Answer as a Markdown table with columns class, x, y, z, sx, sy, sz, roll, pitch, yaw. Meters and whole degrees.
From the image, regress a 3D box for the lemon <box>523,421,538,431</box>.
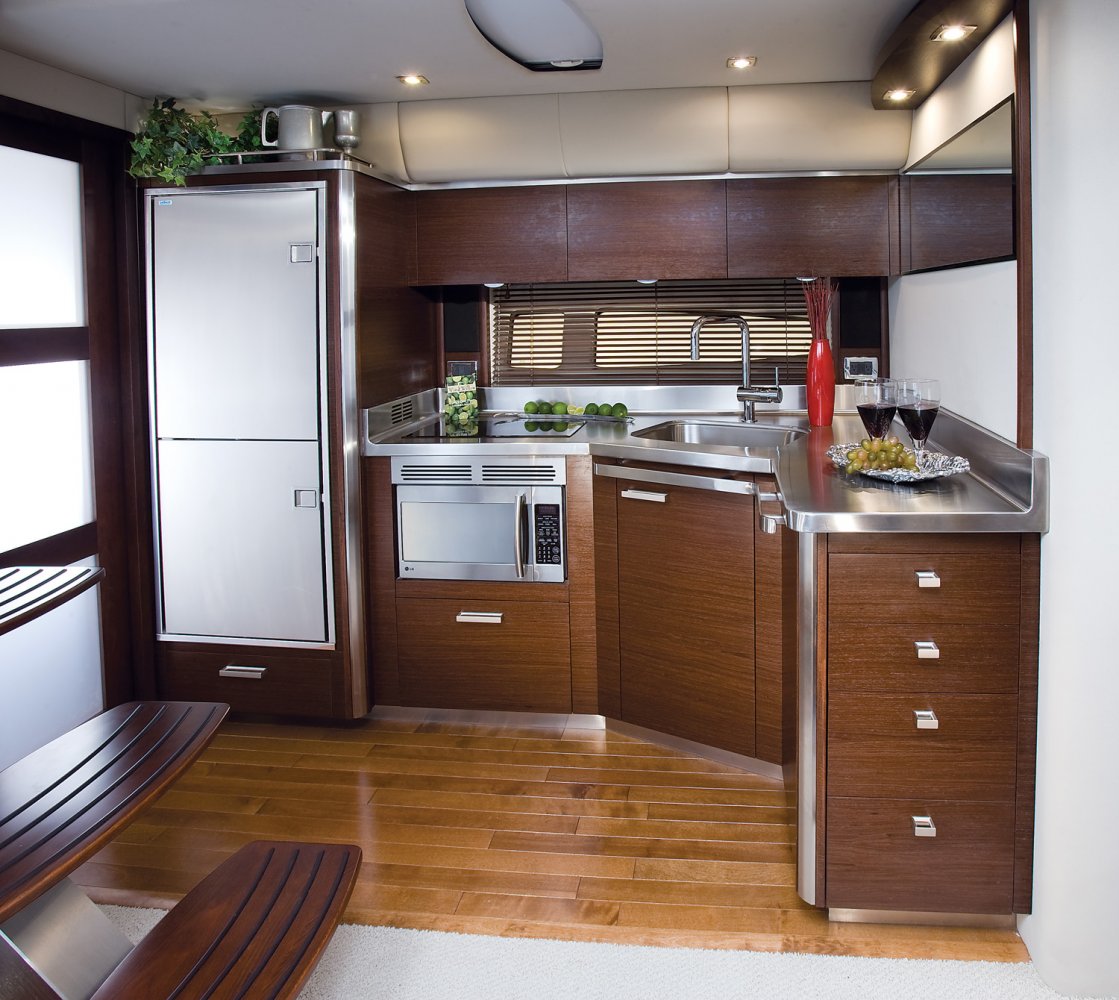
| class | x | y | z | sx | sy | sz | roll | pitch | yaw |
| --- | --- | --- | --- | --- | --- | --- | --- | --- | --- |
| lemon | -0.116 | -0.300 | 3.936 | 0.054 | 0.044 | 0.049 | 1 | 10 | 1 |

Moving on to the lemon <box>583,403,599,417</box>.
| class | x | y | z | sx | sy | sz | roll | pitch | yaw |
| --- | --- | --- | --- | --- | --- | --- | --- | --- | --- |
| lemon | 0.134 | -0.384 | 4.124 | 0.051 | 0.052 | 0.050 | -1 | 2 | -41 |

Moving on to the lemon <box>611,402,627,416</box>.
| class | x | y | z | sx | sy | sz | roll | pitch | yaw |
| --- | --- | --- | --- | --- | --- | --- | --- | --- | --- |
| lemon | 0.248 | -0.380 | 4.094 | 0.050 | 0.042 | 0.059 | 9 | 23 | 7 |

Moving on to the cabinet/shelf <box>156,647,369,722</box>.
| class | x | y | z | sx | sy | sz | roll | pitch | yaw |
| --- | --- | --- | --- | --- | --- | --- | --- | --- | --- |
| cabinet/shelf | -1.133 | 0.674 | 3.709 | 0.804 | 0.277 | 0.101 | 0 | 10 | 13 |

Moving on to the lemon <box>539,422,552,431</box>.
| class | x | y | z | sx | sy | sz | roll | pitch | yaw |
| --- | --- | --- | --- | --- | --- | --- | --- | --- | --- |
| lemon | -0.053 | -0.292 | 3.910 | 0.041 | 0.025 | 0.048 | 3 | 9 | 16 |

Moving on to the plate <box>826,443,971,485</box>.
| class | x | y | z | sx | sy | sz | roll | pitch | yaw |
| --- | --- | --- | --- | --- | --- | --- | --- | --- | --- |
| plate | 0.883 | -0.095 | 2.617 | 0.382 | 0.073 | 0.309 | 3 | 10 | 27 |

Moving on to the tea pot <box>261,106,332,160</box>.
| class | x | y | z | sx | sy | sz | roll | pitch | yaw |
| --- | --- | --- | --- | --- | --- | --- | --- | --- | --- |
| tea pot | -0.948 | -1.333 | 3.577 | 0.314 | 0.187 | 0.191 | 0 | 13 | -12 |

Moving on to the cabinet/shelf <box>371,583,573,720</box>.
| class | x | y | z | sx | sy | sz | roll | pitch | yaw |
| --- | --- | --- | --- | --- | --- | --- | --- | --- | --- |
| cabinet/shelf | -0.458 | 0.616 | 3.816 | 0.868 | 0.455 | 0.475 | 11 | -22 | -38 |

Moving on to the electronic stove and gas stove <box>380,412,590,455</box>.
| class | x | y | z | sx | sy | sz | roll | pitch | yaw |
| --- | --- | --- | --- | --- | --- | --- | --- | --- | --- |
| electronic stove and gas stove | -0.293 | -0.252 | 3.854 | 0.810 | 0.106 | 0.761 | -1 | 9 | 1 |

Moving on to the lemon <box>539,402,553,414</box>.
| class | x | y | z | sx | sy | sz | roll | pitch | yaw |
| --- | --- | --- | --- | --- | --- | --- | --- | --- | --- |
| lemon | -0.056 | -0.392 | 4.179 | 0.051 | 0.048 | 0.045 | 5 | 25 | 0 |

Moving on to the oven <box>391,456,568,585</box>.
| class | x | y | z | sx | sy | sz | roll | pitch | yaw |
| --- | --- | --- | --- | --- | --- | --- | --- | --- | --- |
| oven | -0.286 | 0.069 | 3.701 | 0.783 | 0.448 | 0.470 | 0 | 2 | 7 |

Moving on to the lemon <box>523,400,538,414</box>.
| class | x | y | z | sx | sy | sz | roll | pitch | yaw |
| --- | --- | --- | --- | --- | --- | --- | --- | --- | --- |
| lemon | -0.121 | -0.395 | 4.199 | 0.059 | 0.047 | 0.107 | -2 | 9 | 0 |

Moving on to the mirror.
| class | x | y | z | sx | sy | sz | roll | pitch | yaw |
| --- | --- | --- | --- | --- | --- | --- | --- | --- | --- |
| mirror | 1.183 | -0.846 | 2.909 | 0.018 | 0.254 | 0.512 | -16 | 18 | -15 |

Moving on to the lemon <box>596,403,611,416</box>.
| class | x | y | z | sx | sy | sz | roll | pitch | yaw |
| --- | --- | --- | --- | --- | --- | --- | --- | --- | --- |
| lemon | 0.189 | -0.379 | 4.127 | 0.048 | 0.040 | 0.043 | -1 | 10 | 8 |
